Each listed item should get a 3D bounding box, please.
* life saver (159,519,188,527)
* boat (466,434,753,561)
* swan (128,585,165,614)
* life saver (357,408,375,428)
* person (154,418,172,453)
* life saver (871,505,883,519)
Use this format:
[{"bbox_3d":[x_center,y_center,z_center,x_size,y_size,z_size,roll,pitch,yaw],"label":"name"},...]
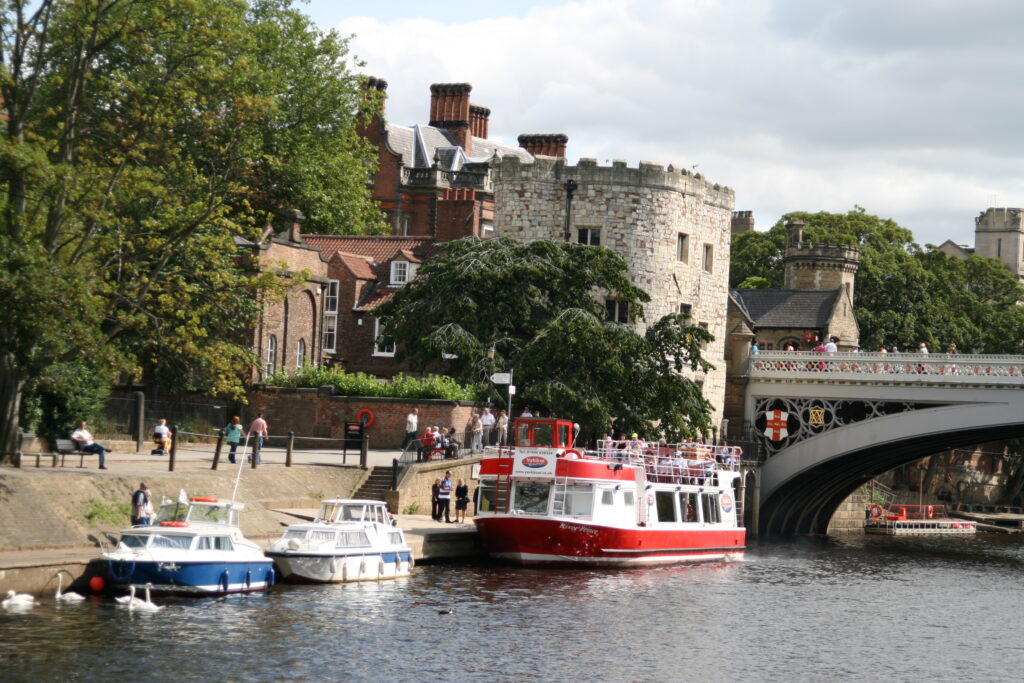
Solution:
[{"bbox_3d":[-12.651,6.749,62.797,0.988,0.248,0.836,3,-1,-12],"label":"life saver"},{"bbox_3d":[5.230,7.149,76.289,5.374,5.978,16.981,3,-1,41],"label":"boat"},{"bbox_3d":[-13.204,9.191,60.405,1.166,0.968,1.458,3,-1,-14],"label":"swan"},{"bbox_3d":[-7.058,3.628,81.286,0.912,0.891,0.268,3,4,0],"label":"life saver"},{"bbox_3d":[-15.712,4.201,75.409,0.706,1.569,2.835,3,-1,-11],"label":"person"},{"bbox_3d":[23.624,10.866,108.008,0.590,0.779,0.837,3,0,12],"label":"life saver"}]
